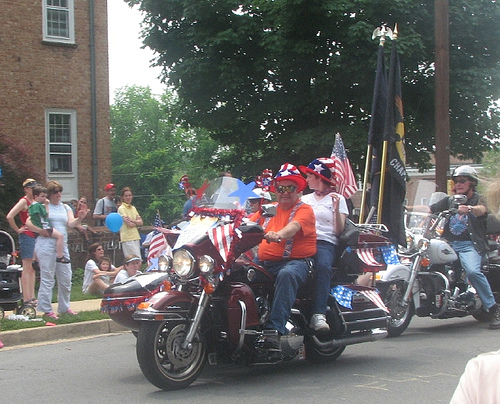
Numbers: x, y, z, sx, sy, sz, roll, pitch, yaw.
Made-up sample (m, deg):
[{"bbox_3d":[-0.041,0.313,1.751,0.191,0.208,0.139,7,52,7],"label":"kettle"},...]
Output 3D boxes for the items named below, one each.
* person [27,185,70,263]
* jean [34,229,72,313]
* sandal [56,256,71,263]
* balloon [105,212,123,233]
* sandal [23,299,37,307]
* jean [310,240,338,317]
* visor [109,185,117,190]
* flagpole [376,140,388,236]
[{"bbox_3d":[-3.315,0.364,13.557,0.594,1.026,0.340,-3,-1,-14],"label":"person"},{"bbox_3d":[-3.214,1.199,13.598,0.486,1.082,0.530,-4,-1,21],"label":"jean"},{"bbox_3d":[-3.047,0.950,13.486,0.203,0.069,0.092,0,1,-2],"label":"sandal"},{"bbox_3d":[-2.714,0.388,16.290,0.408,0.407,0.369,-9,-4,13],"label":"balloon"},{"bbox_3d":[-3.785,1.741,14.173,0.263,0.089,0.087,3,1,17],"label":"sandal"},{"bbox_3d":[0.997,1.002,10.461,0.480,0.809,0.391,-2,6,-35],"label":"jean"},{"bbox_3d":[-2.904,-0.324,17.790,0.148,0.085,0.223,1,-8,-31],"label":"visor"},{"bbox_3d":[2.159,-0.220,13.657,0.344,1.607,0.284,-1,1,13],"label":"flagpole"}]
